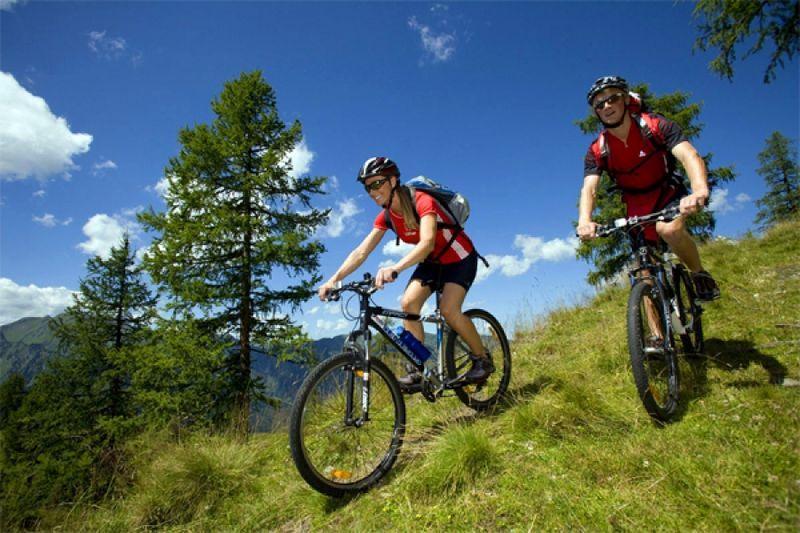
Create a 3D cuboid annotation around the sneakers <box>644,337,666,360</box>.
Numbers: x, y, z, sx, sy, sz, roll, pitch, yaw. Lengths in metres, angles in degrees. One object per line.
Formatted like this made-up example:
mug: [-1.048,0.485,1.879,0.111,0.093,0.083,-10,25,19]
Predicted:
sneakers: [4.314,1.371,9.060,0.265,0.427,0.121,-4,-3,-1]
